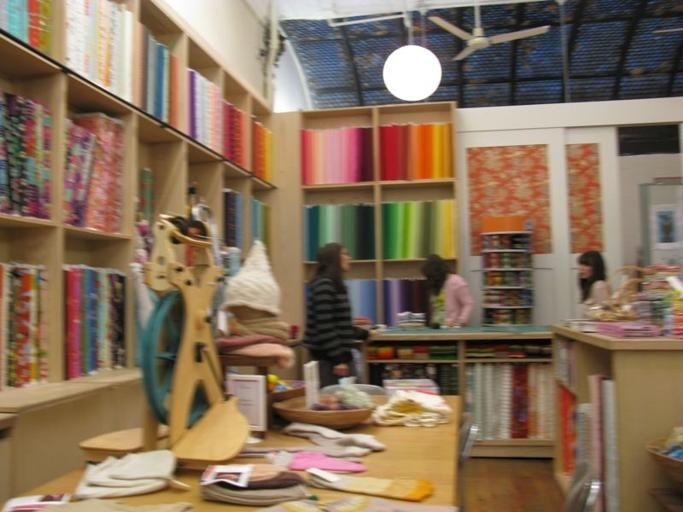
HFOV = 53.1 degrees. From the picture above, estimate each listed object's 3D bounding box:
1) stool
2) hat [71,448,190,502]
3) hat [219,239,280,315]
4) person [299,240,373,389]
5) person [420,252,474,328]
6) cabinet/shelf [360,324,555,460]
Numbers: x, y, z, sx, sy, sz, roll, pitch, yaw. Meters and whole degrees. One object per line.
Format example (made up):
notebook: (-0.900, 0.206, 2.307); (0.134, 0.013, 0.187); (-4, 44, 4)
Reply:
stool: (-0.837, 0.733, 2.738); (0.300, 0.072, 0.298); (-1, -4, 12)
hat: (-0.755, 0.780, 2.452); (0.374, 0.132, 0.193); (0, -4, -17)
hat: (-0.393, 0.097, 2.967); (0.238, 0.328, 0.132); (0, -4, -16)
person: (-0.089, 0.395, 4.638); (0.326, 0.974, 0.326); (-1, -4, -4)
person: (0.882, 0.301, 5.969); (0.451, 0.623, 0.234); (-5, -5, 43)
cabinet/shelf: (0.863, 0.917, 4.594); (1.642, 0.827, 0.499); (0, 4, 7)
